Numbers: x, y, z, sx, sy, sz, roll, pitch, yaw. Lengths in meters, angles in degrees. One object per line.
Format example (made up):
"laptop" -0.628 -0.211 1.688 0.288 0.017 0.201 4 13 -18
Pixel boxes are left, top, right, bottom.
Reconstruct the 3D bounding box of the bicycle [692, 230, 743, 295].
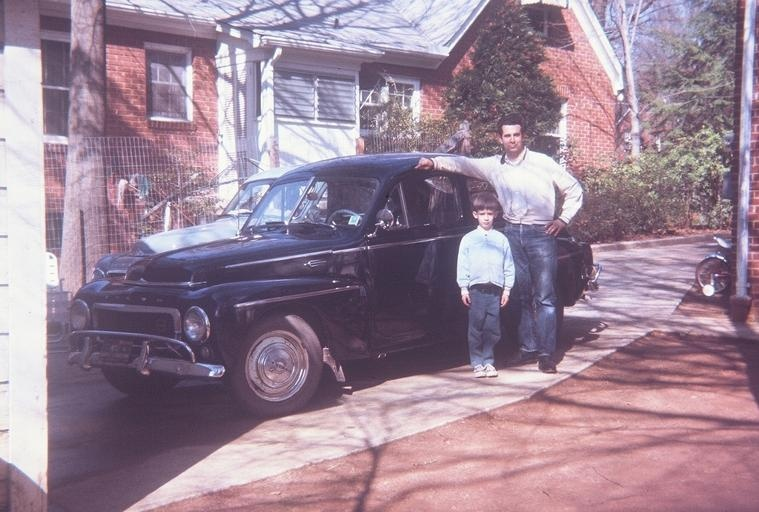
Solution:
"bicycle" 5.871 0.191 11.520 0.523 0.974 0.677 -1 7 20

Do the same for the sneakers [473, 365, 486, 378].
"sneakers" 1.103 1.266 7.235 0.111 0.092 0.209 -2 -11 4

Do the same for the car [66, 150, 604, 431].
"car" -0.561 0.293 7.462 4.844 1.949 2.523 1 -4 -41

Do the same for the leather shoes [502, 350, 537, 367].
"leather shoes" 1.691 1.191 7.724 0.456 0.205 0.170 -2 2 -18
